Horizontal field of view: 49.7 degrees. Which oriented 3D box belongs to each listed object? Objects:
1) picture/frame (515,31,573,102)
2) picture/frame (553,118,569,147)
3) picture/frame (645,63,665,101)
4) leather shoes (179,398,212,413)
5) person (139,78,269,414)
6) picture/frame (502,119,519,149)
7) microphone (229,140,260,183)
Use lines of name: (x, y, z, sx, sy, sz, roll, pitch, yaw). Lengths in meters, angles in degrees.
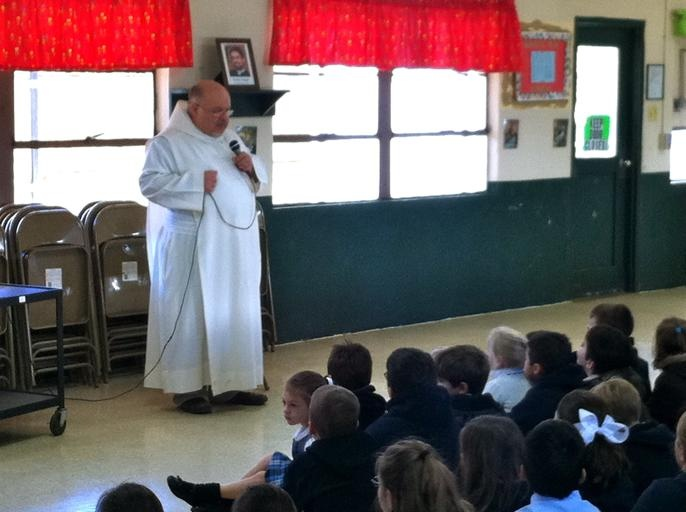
picture/frame: (2.014, -1.948, 7.527, 0.700, 0.734, 0.115, -2, 3, -36)
picture/frame: (2.273, -1.307, 7.758, 0.266, 0.390, 0.025, -4, 6, -42)
picture/frame: (3.457, -1.949, 8.235, 0.355, 0.519, 0.054, -8, 9, -43)
leather shoes: (-0.983, 1.014, 5.001, 0.094, 0.082, 0.192, 5, -13, -44)
person: (-0.933, -0.061, 5.013, 0.835, 2.199, 0.472, -1, 10, -8)
picture/frame: (1.682, -1.244, 7.470, 0.257, 0.379, 0.036, -4, 11, -33)
microphone: (-0.699, -0.685, 5.081, 0.123, 0.357, 0.109, -35, -2, -2)
